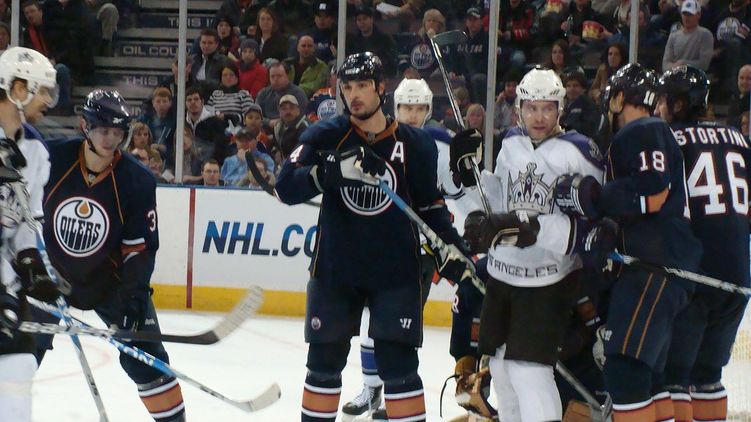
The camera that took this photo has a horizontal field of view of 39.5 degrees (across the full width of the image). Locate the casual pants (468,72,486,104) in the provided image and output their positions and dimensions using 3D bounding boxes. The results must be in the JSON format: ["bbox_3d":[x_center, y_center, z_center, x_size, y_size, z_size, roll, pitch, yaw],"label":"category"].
[{"bbox_3d":[1.052,-1.224,10.422,0.194,0.282,0.195,8,16,40],"label":"casual pants"}]

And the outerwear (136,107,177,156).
[{"bbox_3d":[-2.256,-0.807,10.766,0.419,0.443,0.131,14,6,15],"label":"outerwear"}]

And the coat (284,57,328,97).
[{"bbox_3d":[-0.659,-1.390,10.736,0.367,0.391,0.184,1,2,5],"label":"coat"}]

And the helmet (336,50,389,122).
[{"bbox_3d":[-0.033,-0.892,7.355,0.376,0.536,0.437,-7,-4,12],"label":"helmet"}]

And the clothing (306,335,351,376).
[{"bbox_3d":[-0.312,1.000,7.161,0.288,0.245,0.079,0,4,-5],"label":"clothing"}]

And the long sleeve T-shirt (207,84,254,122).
[{"bbox_3d":[-1.468,-1.128,11.011,0.579,0.496,0.328,2,-11,9],"label":"long sleeve T-shirt"}]

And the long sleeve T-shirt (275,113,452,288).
[{"bbox_3d":[-0.019,-0.094,7.282,1.325,1.203,0.721,2,4,-16],"label":"long sleeve T-shirt"}]

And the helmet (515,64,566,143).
[{"bbox_3d":[1.153,-0.736,7.229,0.376,0.567,0.470,-2,-3,6],"label":"helmet"}]

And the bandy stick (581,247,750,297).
[{"bbox_3d":[1.977,0.421,7.186,0.902,0.102,0.103,14,32,-6],"label":"bandy stick"}]

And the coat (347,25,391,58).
[{"bbox_3d":[-0.038,-1.697,10.566,0.471,0.419,0.284,-1,2,10],"label":"coat"}]

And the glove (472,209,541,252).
[{"bbox_3d":[0.910,0.135,7.140,0.351,0.170,0.278,-4,-8,12],"label":"glove"}]

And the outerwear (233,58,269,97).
[{"bbox_3d":[-1.264,-1.396,10.841,0.335,0.333,0.188,7,7,17],"label":"outerwear"}]

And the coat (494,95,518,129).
[{"bbox_3d":[1.295,-0.983,10.285,0.112,0.247,0.332,-2,-39,-24],"label":"coat"}]

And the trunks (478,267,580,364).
[{"bbox_3d":[1.081,0.722,7.199,0.371,0.693,0.506,19,-6,-40],"label":"trunks"}]

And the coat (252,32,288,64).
[{"bbox_3d":[-1.060,-1.695,10.802,0.456,0.329,0.240,9,16,12],"label":"coat"}]

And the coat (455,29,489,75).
[{"bbox_3d":[0.973,-1.559,10.276,0.361,0.522,0.198,-1,10,22],"label":"coat"}]

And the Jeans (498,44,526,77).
[{"bbox_3d":[1.364,-1.498,10.318,0.225,0.323,0.100,3,12,7],"label":"Jeans"}]

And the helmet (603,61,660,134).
[{"bbox_3d":[1.811,-0.794,7.352,0.361,0.464,0.439,6,-12,-43],"label":"helmet"}]

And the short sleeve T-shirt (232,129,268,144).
[{"bbox_3d":[-1.265,-0.792,10.807,0.225,0.099,0.185,0,1,-19],"label":"short sleeve T-shirt"}]

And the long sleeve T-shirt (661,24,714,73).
[{"bbox_3d":[3.062,-1.532,10.146,0.279,0.473,0.481,2,5,-41],"label":"long sleeve T-shirt"}]

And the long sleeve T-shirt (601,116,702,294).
[{"bbox_3d":[1.892,-0.068,7.413,0.833,1.226,0.896,-3,3,25],"label":"long sleeve T-shirt"}]

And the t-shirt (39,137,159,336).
[{"bbox_3d":[-1.943,0.181,7.280,0.945,1.146,0.756,11,21,3],"label":"t-shirt"}]

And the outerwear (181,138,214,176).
[{"bbox_3d":[-1.854,-0.559,10.636,0.407,0.436,0.255,2,-1,5],"label":"outerwear"}]

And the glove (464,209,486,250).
[{"bbox_3d":[0.697,0.132,7.284,0.085,0.246,0.180,13,11,39],"label":"glove"}]

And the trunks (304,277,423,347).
[{"bbox_3d":[-0.049,0.637,7.241,0.865,0.530,0.294,0,-1,15],"label":"trunks"}]

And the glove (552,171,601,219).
[{"bbox_3d":[1.380,-0.117,7.080,0.303,0.259,0.329,2,32,21],"label":"glove"}]

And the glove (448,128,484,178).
[{"bbox_3d":[0.662,-0.412,7.468,0.234,0.349,0.131,1,16,2],"label":"glove"}]

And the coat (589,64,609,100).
[{"bbox_3d":[2.212,-1.264,10.196,0.103,0.237,0.308,14,-30,2],"label":"coat"}]

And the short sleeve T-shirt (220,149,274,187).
[{"bbox_3d":[-1.244,-0.418,10.390,0.441,0.156,0.137,-22,0,-6],"label":"short sleeve T-shirt"}]

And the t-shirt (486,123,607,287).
[{"bbox_3d":[1.205,-0.002,7.190,1.008,1.101,0.590,6,4,40],"label":"t-shirt"}]
